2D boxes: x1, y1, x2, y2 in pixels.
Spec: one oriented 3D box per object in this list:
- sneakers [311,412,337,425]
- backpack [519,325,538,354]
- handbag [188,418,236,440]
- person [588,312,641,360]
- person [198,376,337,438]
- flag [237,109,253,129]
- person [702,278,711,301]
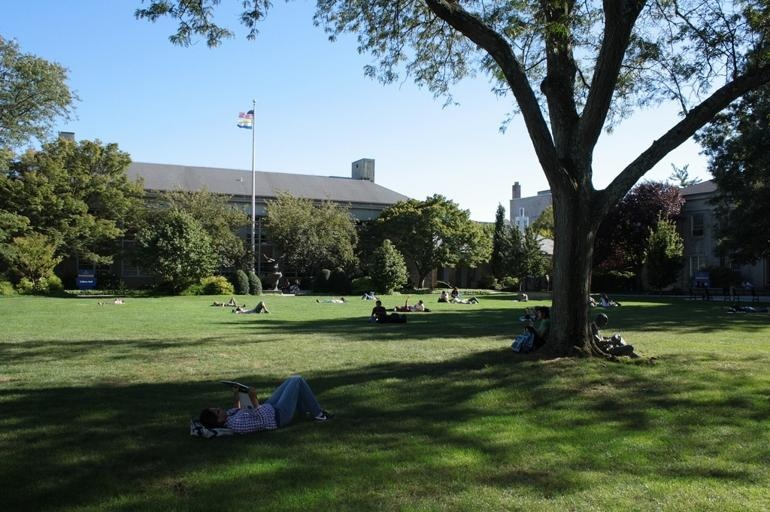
[{"bbox_3d":[-1.298,3.304,13.427,0.438,0.205,0.180,-1,0,-10],"label":"sneakers"},{"bbox_3d":[3.844,2.237,17.449,0.478,0.700,0.271,12,-4,34],"label":"backpack"},{"bbox_3d":[-3.410,3.369,12.808,0.886,0.328,0.215,0,-2,7],"label":"handbag"},{"bbox_3d":[6.057,2.196,17.263,1.269,1.439,0.644,-10,-9,10],"label":"person"},{"bbox_3d":[-2.554,3.271,13.503,2.649,1.075,1.146,-7,0,-20],"label":"person"},{"bbox_3d":[-11.240,-11.073,53.170,1.390,1.513,1.056,2,-3,-36],"label":"flag"},{"bbox_3d":[22.113,2.255,45.158,0.442,0.766,1.196,-2,1,16],"label":"person"}]
